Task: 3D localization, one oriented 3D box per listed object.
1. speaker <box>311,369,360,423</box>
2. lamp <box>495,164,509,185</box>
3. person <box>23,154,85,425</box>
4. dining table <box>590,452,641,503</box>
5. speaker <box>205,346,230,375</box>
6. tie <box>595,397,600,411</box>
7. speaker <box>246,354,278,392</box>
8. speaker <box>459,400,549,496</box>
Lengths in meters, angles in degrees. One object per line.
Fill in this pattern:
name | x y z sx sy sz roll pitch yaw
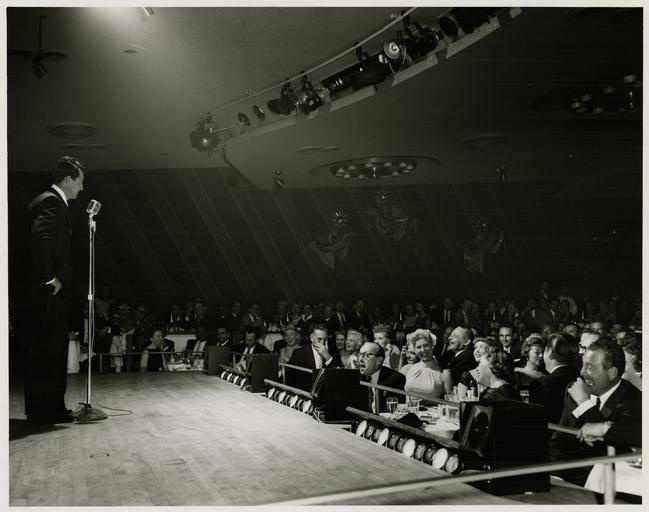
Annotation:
speaker | 0.056 1.553 7.341 0.464 0.581 0.604 8 -9 -23
lamp | 3.814 -1.744 13.958 0.303 0.288 0.535 -3 13 0
person | -2.736 0.332 6.448 0.507 2.619 0.504 6 -9 -16
dining table | 2.235 1.693 4.993 0.413 0.298 0.906 0 -9 20
speaker | -1.786 1.745 11.052 0.434 0.563 0.574 4 -13 -9
tie | 2.319 1.240 5.498 0.035 0.083 0.018 0 -9 23
speaker | -0.857 1.615 8.989 0.535 0.639 0.353 3 -9 -11
speaker | 1.289 1.459 5.273 0.625 0.788 0.819 3 -14 -13
